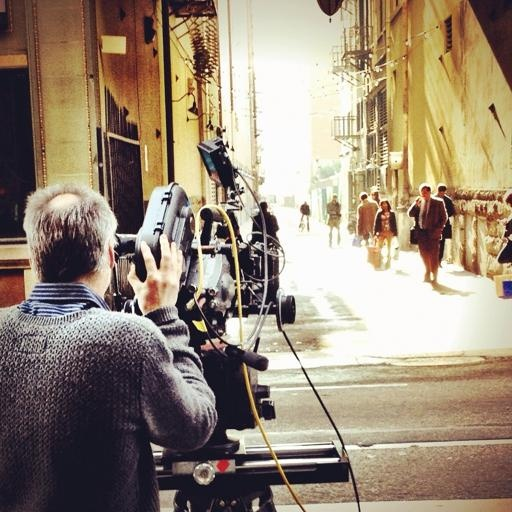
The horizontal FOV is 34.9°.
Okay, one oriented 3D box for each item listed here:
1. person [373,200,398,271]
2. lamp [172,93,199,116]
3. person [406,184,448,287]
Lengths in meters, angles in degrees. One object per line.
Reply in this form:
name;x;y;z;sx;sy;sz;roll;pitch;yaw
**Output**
person;2.472;-0.448;15.571;0.448;1.376;0.901;6;8;8
lamp;-1.337;-3.158;16.660;0.294;0.581;0.944;6;13;23
person;2.658;-0.359;12.646;0.434;1.520;0.718;1;9;-30
